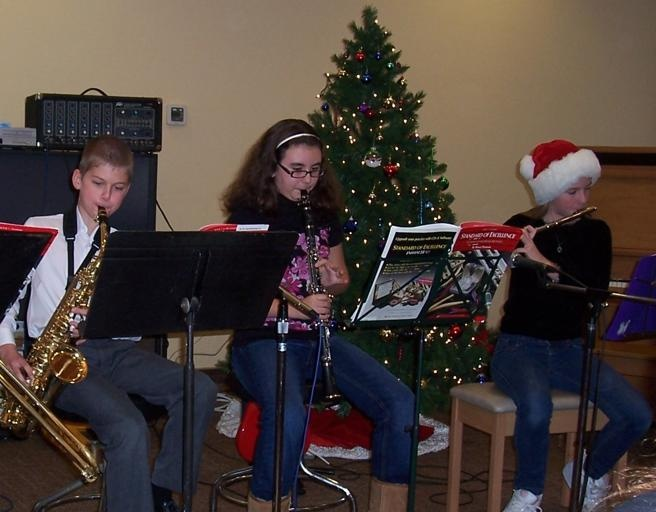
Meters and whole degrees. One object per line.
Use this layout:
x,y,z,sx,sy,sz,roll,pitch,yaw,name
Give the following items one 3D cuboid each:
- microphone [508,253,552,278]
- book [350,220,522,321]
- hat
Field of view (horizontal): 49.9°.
0.890,0.041,3.132,0.213,0.064,0.054,21,-4,-33,microphone
0.460,0.066,3.008,0.750,0.648,0.063,1,46,-34,book
1.154,-0.429,3.585,0.370,0.320,0.315,0,22,25,hat
